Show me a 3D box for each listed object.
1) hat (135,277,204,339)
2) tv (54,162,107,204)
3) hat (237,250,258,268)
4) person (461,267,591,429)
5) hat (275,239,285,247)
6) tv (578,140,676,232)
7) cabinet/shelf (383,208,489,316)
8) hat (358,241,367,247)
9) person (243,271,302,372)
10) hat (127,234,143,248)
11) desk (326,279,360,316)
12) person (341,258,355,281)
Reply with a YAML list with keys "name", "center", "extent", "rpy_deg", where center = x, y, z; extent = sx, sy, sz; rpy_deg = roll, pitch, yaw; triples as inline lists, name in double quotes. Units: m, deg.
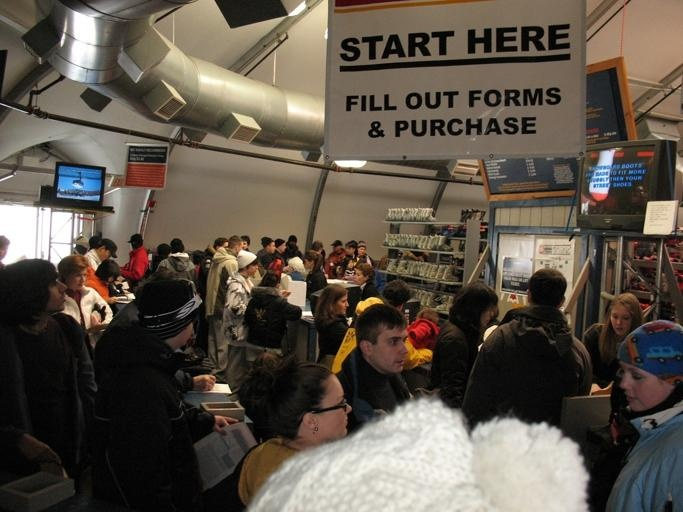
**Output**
- name: "hat"
  center: [-0.714, 0.186, 2.011]
  extent: [0.267, 0.221, 0.214]
  rpy_deg: [-27, 1, 9]
- name: "tv"
  center: [-5.178, -1.442, 9.058]
  extent: [0.907, 0.860, 0.471]
  rpy_deg: [3, -3, -33]
- name: "hat"
  center: [-1.276, 0.020, 6.154]
  extent: [0.222, 0.160, 0.197]
  rpy_deg: [-24, 18, 28]
- name: "person"
  center: [0.996, 0.478, 2.496]
  extent: [0.721, 0.828, 0.423]
  rpy_deg: [-6, -11, 11]
- name: "hat"
  center: [-1.327, -0.308, 9.815]
  extent: [0.153, 0.153, 0.178]
  rpy_deg: [1, 11, 1]
- name: "tv"
  center: [2.337, -0.578, 3.718]
  extent: [0.448, 0.779, 0.770]
  rpy_deg: [1, -1, -25]
- name: "cabinet/shelf"
  center: [1.359, 0.056, 6.733]
  extent: [0.534, 1.790, 1.657]
  rpy_deg: [1, 3, -32]
- name: "hat"
  center: [0.470, -0.304, 10.307]
  extent: [0.149, 0.112, 0.189]
  rpy_deg: [-1, -1, -4]
- name: "person"
  center: [-0.766, 0.656, 4.986]
  extent: [0.613, 1.472, 0.479]
  rpy_deg: [17, 30, 17]
- name: "hat"
  center: [-4.261, -0.341, 9.469]
  extent: [0.289, 0.314, 0.223]
  rpy_deg: [19, 16, 26]
- name: "desk"
  center: [0.029, 0.488, 5.314]
  extent: [0.268, 0.479, 0.497]
  rpy_deg: [-2, 5, -34]
- name: "person"
  center: [0.146, 0.264, 9.237]
  extent: [0.255, 0.538, 0.875]
  rpy_deg: [-3, -11, -4]
